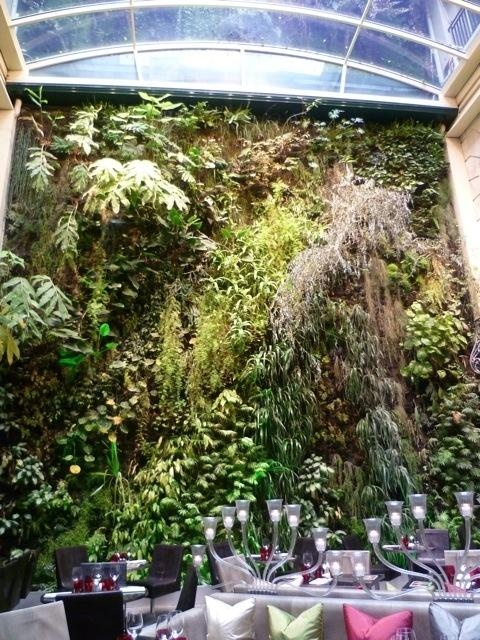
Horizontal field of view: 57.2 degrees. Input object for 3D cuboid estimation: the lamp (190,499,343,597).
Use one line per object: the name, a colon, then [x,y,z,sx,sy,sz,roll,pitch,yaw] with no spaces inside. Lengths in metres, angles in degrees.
lamp: [0.168,1.417,2.693,0.763,0.496,0.714,2,-24,16]
